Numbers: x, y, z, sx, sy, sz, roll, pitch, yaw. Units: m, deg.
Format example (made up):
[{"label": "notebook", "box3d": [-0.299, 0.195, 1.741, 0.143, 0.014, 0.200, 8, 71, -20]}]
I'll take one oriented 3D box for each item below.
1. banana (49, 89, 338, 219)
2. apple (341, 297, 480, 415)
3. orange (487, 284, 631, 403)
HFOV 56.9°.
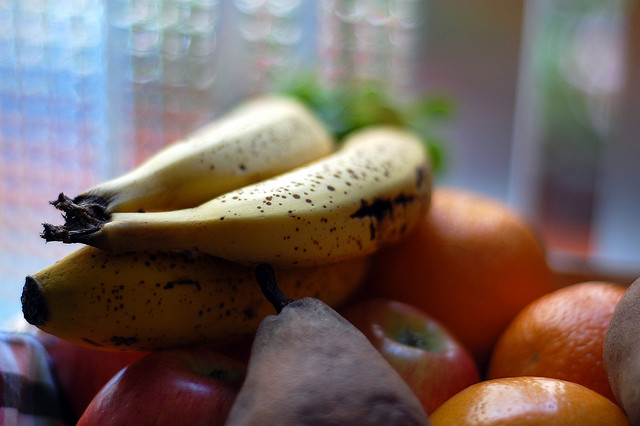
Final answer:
[{"label": "banana", "box3d": [-0.170, -0.055, 0.910, 0.427, 0.149, 0.141, -24, -13, -43]}, {"label": "apple", "box3d": [0.135, 0.195, 0.915, 0.167, 0.155, 0.163, 1, 6, -8]}, {"label": "orange", "box3d": [0.394, 0.217, 0.999, 0.215, 0.176, 0.175, -20, -44, 41]}]
